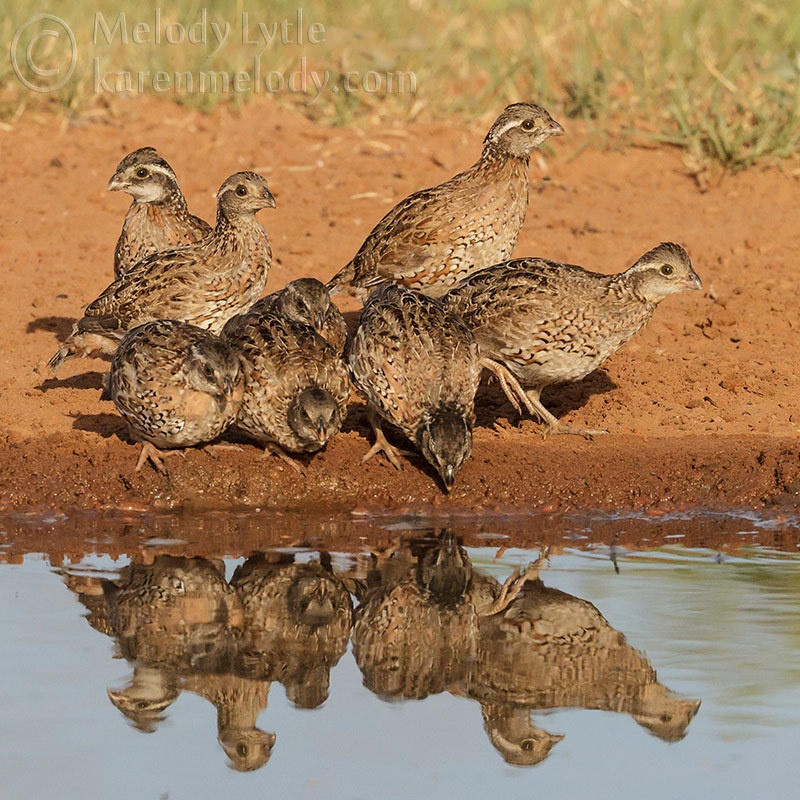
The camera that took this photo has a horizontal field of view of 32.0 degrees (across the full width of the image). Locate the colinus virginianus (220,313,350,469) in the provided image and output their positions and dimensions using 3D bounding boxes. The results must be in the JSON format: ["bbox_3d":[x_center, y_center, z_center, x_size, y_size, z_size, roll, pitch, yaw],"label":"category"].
[{"bbox_3d":[-0.726,-0.180,9.477,0.700,0.676,1.103,-12,55,-28],"label":"colinus virginianus"}]
